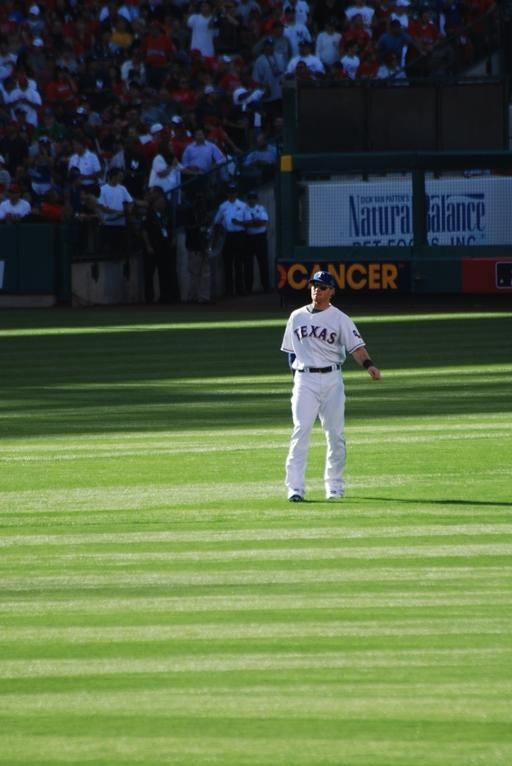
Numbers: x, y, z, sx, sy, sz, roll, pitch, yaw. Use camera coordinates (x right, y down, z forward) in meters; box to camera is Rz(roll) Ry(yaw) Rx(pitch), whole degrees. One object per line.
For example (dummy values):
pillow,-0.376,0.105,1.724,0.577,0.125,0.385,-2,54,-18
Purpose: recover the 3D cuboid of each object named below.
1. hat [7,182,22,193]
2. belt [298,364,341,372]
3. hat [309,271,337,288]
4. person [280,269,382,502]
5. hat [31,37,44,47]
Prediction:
hat,-2.702,-2.143,22.581,0.102,0.095,0.158,10,12,-19
belt,0.339,-0.054,10.775,0.234,0.047,0.105,-1,1,-7
hat,0.366,-0.533,10.878,0.120,0.096,0.372,0,1,4
person,0.388,0.054,10.772,0.462,1.226,0.266,0,1,-2
hat,-2.788,-4.326,25.705,0.139,0.130,0.220,1,2,-2
